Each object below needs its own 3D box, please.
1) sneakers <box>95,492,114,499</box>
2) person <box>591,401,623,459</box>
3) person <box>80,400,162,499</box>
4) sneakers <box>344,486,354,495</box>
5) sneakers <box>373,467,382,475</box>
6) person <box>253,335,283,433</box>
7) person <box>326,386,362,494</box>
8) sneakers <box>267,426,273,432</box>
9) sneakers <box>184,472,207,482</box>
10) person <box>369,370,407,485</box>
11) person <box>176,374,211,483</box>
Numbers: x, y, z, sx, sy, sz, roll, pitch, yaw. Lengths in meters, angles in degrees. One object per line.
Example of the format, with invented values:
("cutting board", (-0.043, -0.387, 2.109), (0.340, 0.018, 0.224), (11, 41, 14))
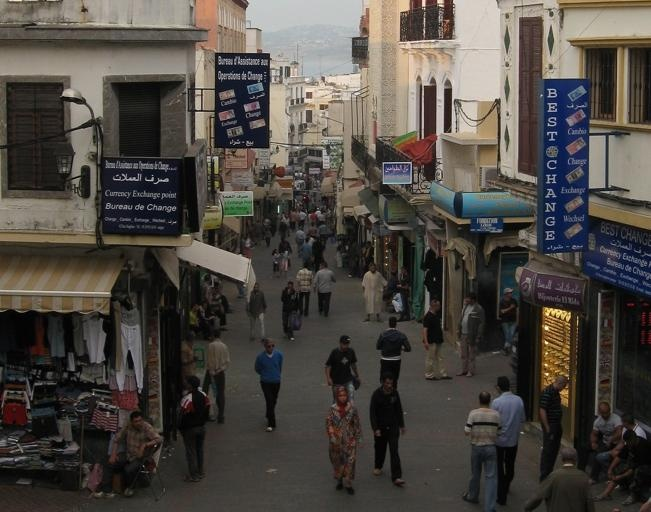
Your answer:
("sneakers", (-3.580, 3.857, 16.762), (0.281, 0.146, 0.117), (9, -10, -8))
("person", (4.439, 2.765, 16.555), (0.513, 0.865, 0.548), (-1, 3, 0))
("person", (-3.228, 3.190, 16.789), (0.805, 1.431, 1.012), (3, -4, 36))
("sneakers", (0.377, 3.780, 16.698), (0.089, 0.096, 0.209), (-1, -14, -4))
("sneakers", (0.881, 3.650, 17.539), (0.083, 0.106, 0.247), (0, -9, -1))
("person", (-1.099, 2.430, 20.102), (0.493, 1.718, 0.951), (-1, 6, 3))
("person", (0.305, 2.941, 16.892), (0.531, 1.731, 0.744), (-2, 6, 1))
("sneakers", (-1.076, 3.302, 19.800), (0.068, 0.059, 0.122), (1, 3, -27))
("sneakers", (-2.207, 3.722, 17.393), (0.219, 0.094, 0.137), (4, 9, 15))
("person", (1.020, 2.775, 17.178), (0.533, 1.925, 1.008), (-2, 6, 3))
("person", (-2.209, 2.889, 17.374), (0.479, 1.740, 0.510), (0, 6, 14))
